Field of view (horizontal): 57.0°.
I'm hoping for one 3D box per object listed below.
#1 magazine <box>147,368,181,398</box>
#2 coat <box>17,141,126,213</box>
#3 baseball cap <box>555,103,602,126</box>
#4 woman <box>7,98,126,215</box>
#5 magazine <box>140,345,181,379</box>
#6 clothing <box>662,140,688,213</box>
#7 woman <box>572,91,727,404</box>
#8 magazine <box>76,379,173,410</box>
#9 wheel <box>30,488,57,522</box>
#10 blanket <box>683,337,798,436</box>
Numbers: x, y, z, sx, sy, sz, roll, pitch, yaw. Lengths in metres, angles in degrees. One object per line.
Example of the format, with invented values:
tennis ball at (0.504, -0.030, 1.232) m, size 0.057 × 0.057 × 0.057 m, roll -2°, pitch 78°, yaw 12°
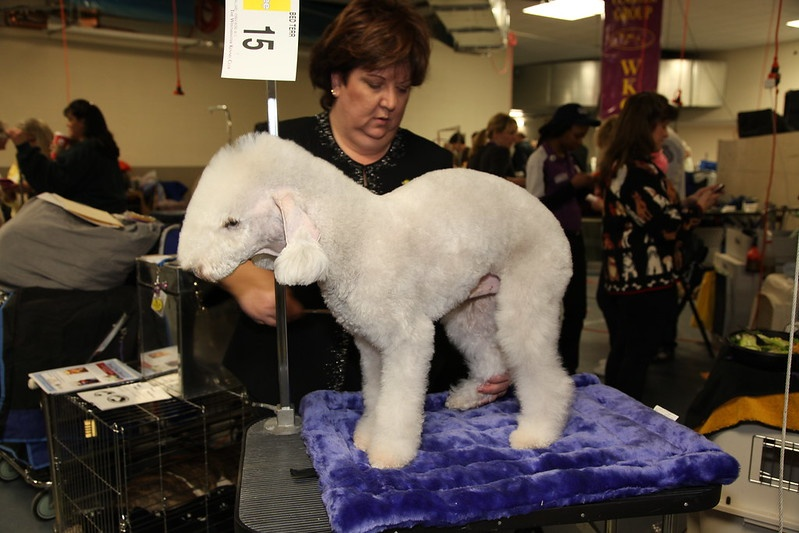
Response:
magazine at (-1.191, 0.605, 3.760) m, size 0.120 × 0.066 × 0.172 m, roll -7°, pitch 26°, yaw -44°
coat at (-1.887, -0.506, 4.266) m, size 0.480 × 0.503 × 0.303 m, roll -9°, pitch 22°, yaw -29°
baseball cap at (1.286, -1.063, 5.289) m, size 0.293 × 0.162 × 0.209 m, roll 1°, pitch 8°, yaw 24°
woman at (-1.940, -0.439, 4.404) m, size 0.662 × 1.039 × 0.455 m, roll -2°, pitch 12°, yaw -30°
magazine at (-1.255, 0.503, 3.839) m, size 0.175 × 0.200 × 0.051 m, roll -4°, pitch 5°, yaw -3°
clothing at (1.554, -0.561, 4.123) m, size 0.064 × 0.350 × 0.149 m, roll -6°, pitch 12°, yaw -27°
woman at (1.561, -0.017, 4.472) m, size 0.628 × 2.035 × 0.588 m, roll 1°, pitch 21°, yaw 15°
magazine at (-1.338, 0.639, 3.599) m, size 0.232 × 0.074 × 0.387 m, roll 9°, pitch 14°, yaw 44°
wheel at (-1.966, 1.326, 4.064) m, size 0.177 × 0.186 × 0.054 m, roll -2°, pitch 3°, yaw -24°
blanket at (1.752, 0.644, 3.740) m, size 0.489 × 0.256 × 0.503 m, roll 4°, pitch 8°, yaw 15°
